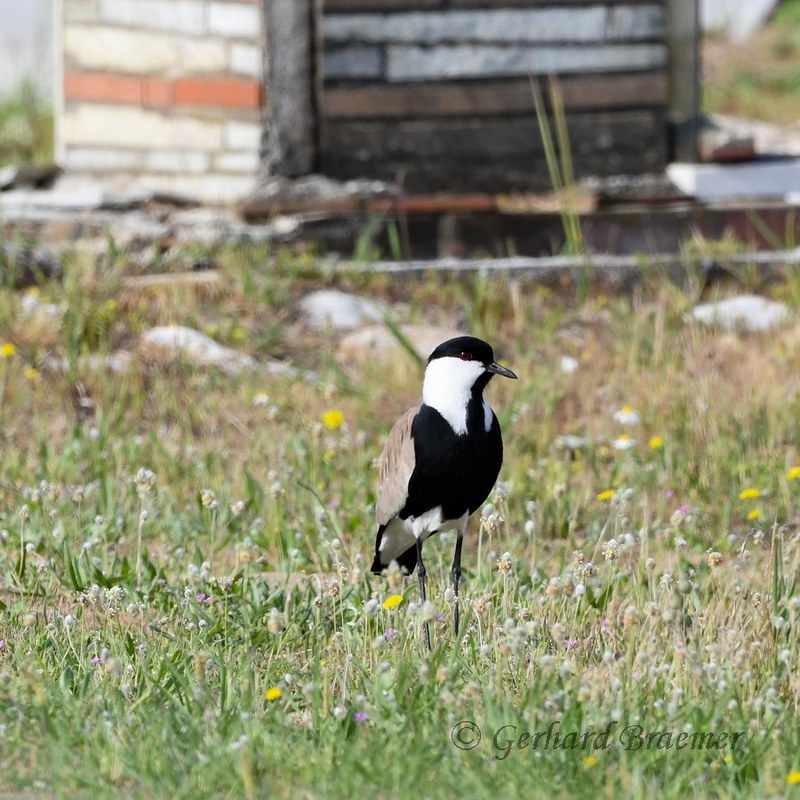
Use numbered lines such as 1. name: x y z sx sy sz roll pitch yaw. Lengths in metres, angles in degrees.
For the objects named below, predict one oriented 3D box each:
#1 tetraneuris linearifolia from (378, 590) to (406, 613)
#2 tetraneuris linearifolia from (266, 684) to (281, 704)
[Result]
1. tetraneuris linearifolia: -0.029 0.755 6.155 0.074 0.034 0.078 -24 -1 19
2. tetraneuris linearifolia: -0.422 0.999 5.715 0.053 0.067 0.054 0 -4 -39
